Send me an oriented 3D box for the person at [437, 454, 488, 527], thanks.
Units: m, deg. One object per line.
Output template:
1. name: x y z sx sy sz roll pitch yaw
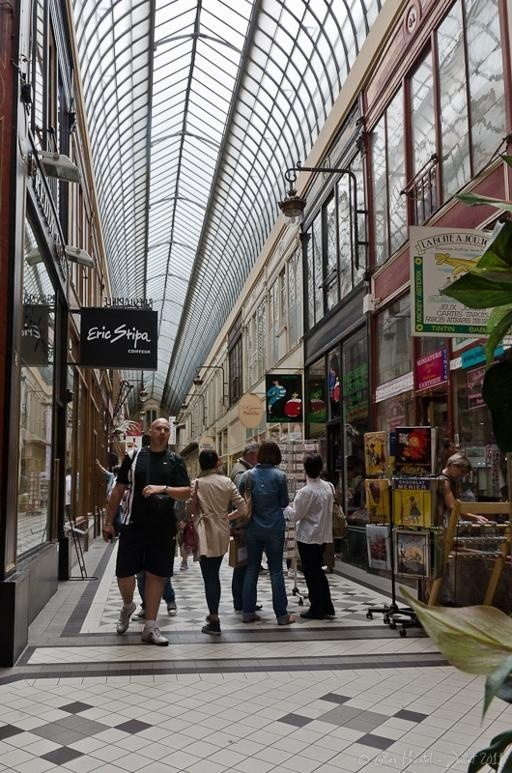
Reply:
1. person: 2.325 1.126 6.189 0.422 0.721 1.281 -2 -7 23

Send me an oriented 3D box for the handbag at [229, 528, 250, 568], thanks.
1. handbag: -0.206 2.016 6.842 0.173 0.600 0.577 2 -3 5

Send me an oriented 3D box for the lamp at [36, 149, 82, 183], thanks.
1. lamp: -2.560 -2.921 7.115 0.393 0.403 0.776 2 -7 -12
